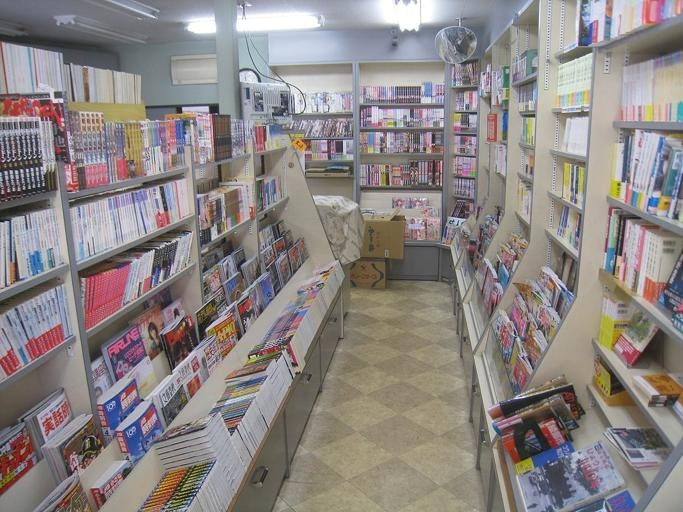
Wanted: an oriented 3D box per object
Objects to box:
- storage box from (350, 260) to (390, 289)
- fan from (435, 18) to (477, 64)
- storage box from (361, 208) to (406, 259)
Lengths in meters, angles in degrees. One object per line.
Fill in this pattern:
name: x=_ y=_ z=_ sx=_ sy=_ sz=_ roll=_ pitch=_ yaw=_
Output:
storage box: x=0.426 y=0.280 z=6.854 sx=0.416 sy=0.311 sz=0.456 roll=0 pitch=3 yaw=6
fan: x=1.366 y=-2.534 z=5.441 sx=0.458 sy=0.650 sz=0.236 roll=6 pitch=15 yaw=13
storage box: x=0.647 y=-0.348 z=6.842 sx=0.579 sy=0.520 sz=0.650 roll=2 pitch=12 yaw=5
